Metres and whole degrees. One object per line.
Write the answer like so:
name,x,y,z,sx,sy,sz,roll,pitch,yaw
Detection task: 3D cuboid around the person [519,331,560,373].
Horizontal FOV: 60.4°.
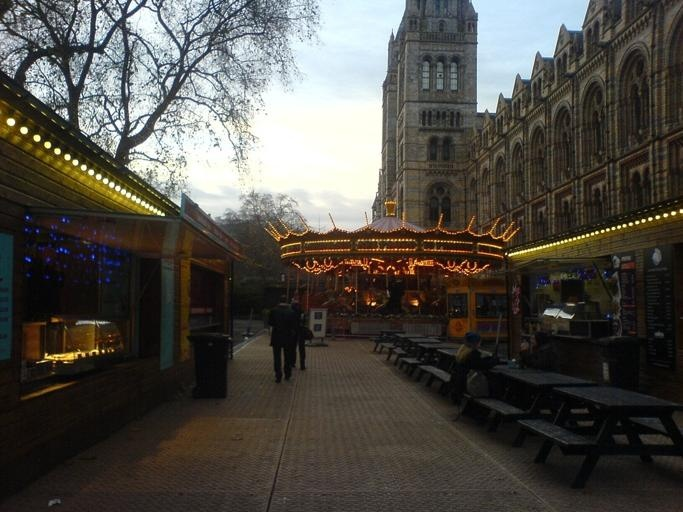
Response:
person,3.948,1.874,11.683,0.658,1.162,0.607,2,-6,27

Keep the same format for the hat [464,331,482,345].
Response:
hat,2.320,1.430,10.338,0.261,0.236,0.194,-16,20,-30

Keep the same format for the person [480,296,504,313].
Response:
person,7.048,2.245,27.661,0.844,0.750,0.528,1,-2,4

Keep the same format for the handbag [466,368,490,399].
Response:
handbag,2.315,2.166,9.964,0.413,0.501,0.304,0,0,-39
